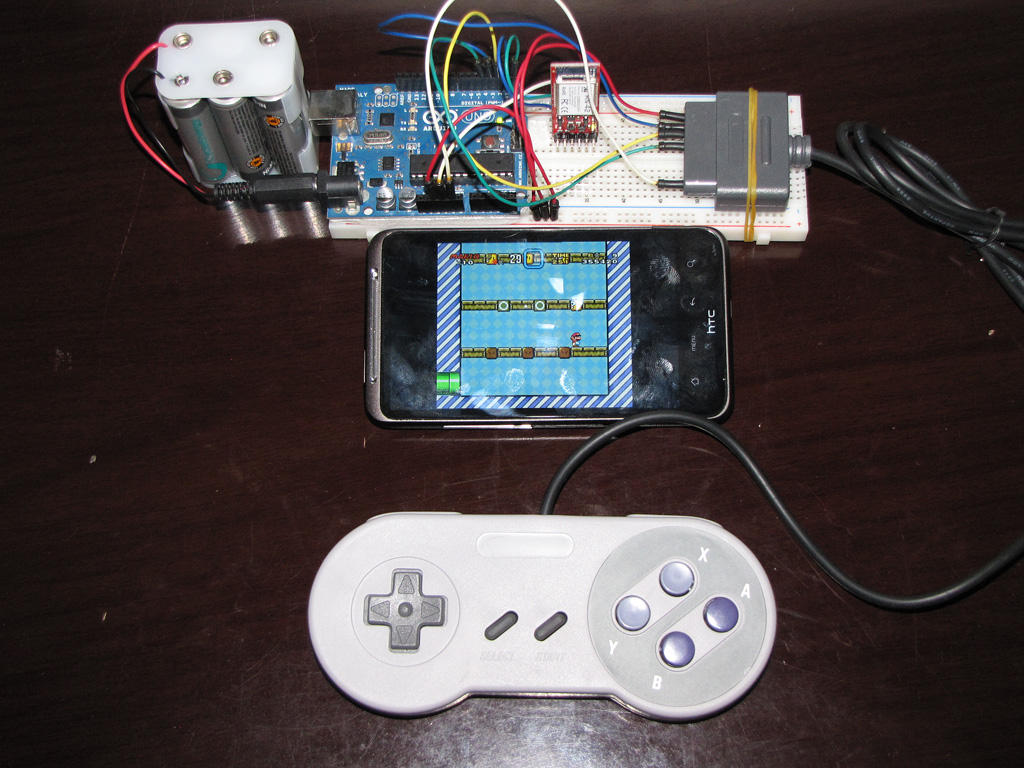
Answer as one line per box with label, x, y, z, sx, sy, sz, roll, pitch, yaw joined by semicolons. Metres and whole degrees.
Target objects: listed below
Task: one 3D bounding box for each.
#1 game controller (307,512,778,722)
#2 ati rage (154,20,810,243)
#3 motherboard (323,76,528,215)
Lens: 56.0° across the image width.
game controller;0.033;0.251;1.064;0.505;0.211;0.074;-1;-23;5
ati rage;-0.029;-0.293;1.314;0.788;0.180;0.226;0;20;-8
motherboard;-0.136;-0.315;1.298;0.269;0.197;0.046;-3;-19;6
